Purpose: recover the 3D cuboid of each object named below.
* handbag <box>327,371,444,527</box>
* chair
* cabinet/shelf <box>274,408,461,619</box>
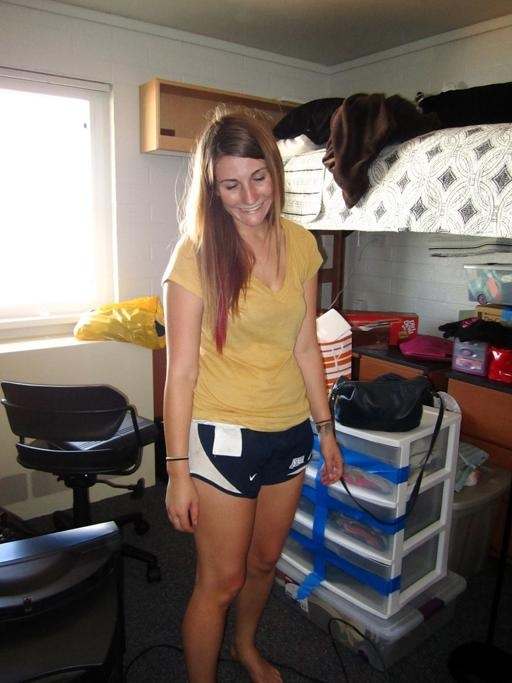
[{"bbox_3d":[0.379,0.300,1.542,0.327,0.395,0.259,-3,14,-9],"label":"handbag"},{"bbox_3d":[-0.610,0.460,1.811,0.611,0.708,0.512,2,29,-5],"label":"chair"},{"bbox_3d":[0.297,0.497,1.764,0.410,0.528,0.607,-6,9,-38],"label":"cabinet/shelf"}]
